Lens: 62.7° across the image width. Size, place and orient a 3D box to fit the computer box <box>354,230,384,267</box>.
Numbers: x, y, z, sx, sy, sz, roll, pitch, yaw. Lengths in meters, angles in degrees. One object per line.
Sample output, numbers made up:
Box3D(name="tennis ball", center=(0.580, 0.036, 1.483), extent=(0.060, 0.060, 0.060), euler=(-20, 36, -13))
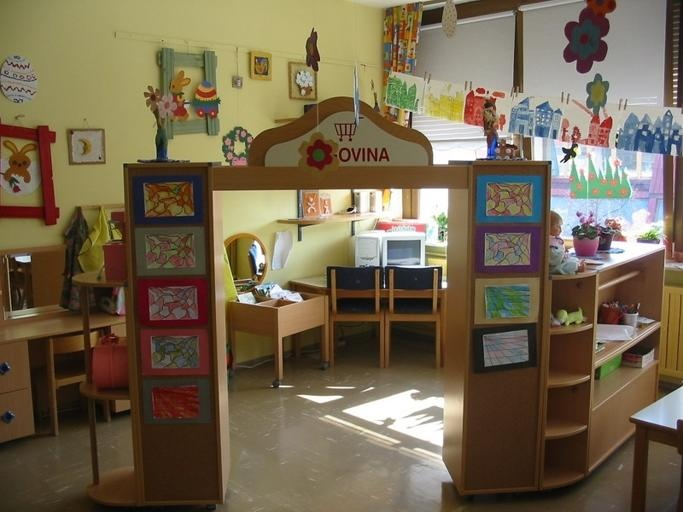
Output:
Box3D(name="computer box", center=(0.304, -0.147, 6.396), extent=(0.269, 0.443, 0.457), euler=(2, 34, 6))

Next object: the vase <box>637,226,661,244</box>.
Box3D(name="vase", center=(2.863, -0.204, 5.204), extent=(0.199, 0.145, 0.165), euler=(-11, 17, -39))

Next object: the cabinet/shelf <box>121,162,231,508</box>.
Box3D(name="cabinet/shelf", center=(-1.023, 0.503, 3.447), extent=(0.549, 2.107, 0.293), euler=(0, 12, 1))

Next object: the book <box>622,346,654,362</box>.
Box3D(name="book", center=(2.408, 0.774, 4.565), extent=(0.144, 0.044, 0.157), euler=(-3, 4, 43))

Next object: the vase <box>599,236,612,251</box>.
Box3D(name="vase", center=(2.090, -0.102, 4.497), extent=(0.113, 0.097, 0.117), euler=(1, -1, -34))

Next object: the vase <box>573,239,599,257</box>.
Box3D(name="vase", center=(1.869, -0.065, 4.294), extent=(0.145, 0.111, 0.136), euler=(2, -1, -6))

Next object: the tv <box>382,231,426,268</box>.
Box3D(name="tv", center=(0.653, -0.108, 6.327), extent=(0.574, 0.536, 0.320), euler=(0, 4, -10))

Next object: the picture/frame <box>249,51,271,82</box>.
Box3D(name="picture/frame", center=(-0.801, -1.862, 5.482), extent=(0.290, 0.289, 0.029), euler=(-5, 9, -43))

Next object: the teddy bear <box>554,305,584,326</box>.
Box3D(name="teddy bear", center=(1.526, 0.400, 3.786), extent=(0.197, 0.111, 0.107), euler=(2, 1, -17))

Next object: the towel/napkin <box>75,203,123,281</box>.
Box3D(name="towel/napkin", center=(-1.865, -0.100, 4.284), extent=(0.548, 0.577, 0.147), euler=(2, 5, 1))

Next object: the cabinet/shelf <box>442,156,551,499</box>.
Box3D(name="cabinet/shelf", center=(1.015, 0.473, 3.572), extent=(0.643, 2.115, 0.302), euler=(-2, 12, -8))

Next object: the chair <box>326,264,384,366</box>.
Box3D(name="chair", center=(0.155, 0.597, 5.721), extent=(0.576, 1.008, 0.347), euler=(-1, 12, -2))

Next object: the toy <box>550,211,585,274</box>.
Box3D(name="toy", center=(1.550, -0.099, 3.835), extent=(0.246, 0.374, 0.616), euler=(5, 14, 22))

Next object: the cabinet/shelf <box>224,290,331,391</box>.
Box3D(name="cabinet/shelf", center=(-0.662, 0.702, 5.636), extent=(0.811, 0.828, 0.959), euler=(3, 6, 35))

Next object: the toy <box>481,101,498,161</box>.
Box3D(name="toy", center=(0.973, -0.816, 3.640), extent=(0.088, 0.354, 0.320), euler=(3, 13, 15))

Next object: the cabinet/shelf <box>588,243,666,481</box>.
Box3D(name="cabinet/shelf", center=(2.100, 0.795, 4.157), extent=(0.453, 1.417, 1.467), euler=(2, 8, 34))

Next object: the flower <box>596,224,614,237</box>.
Box3D(name="flower", center=(2.120, -0.206, 4.479), extent=(0.114, 0.085, 0.250), euler=(6, 14, 25))

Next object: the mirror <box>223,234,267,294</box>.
Box3D(name="mirror", center=(-0.972, 0.066, 5.584), extent=(0.503, 0.631, 0.038), euler=(-11, 11, -38))
